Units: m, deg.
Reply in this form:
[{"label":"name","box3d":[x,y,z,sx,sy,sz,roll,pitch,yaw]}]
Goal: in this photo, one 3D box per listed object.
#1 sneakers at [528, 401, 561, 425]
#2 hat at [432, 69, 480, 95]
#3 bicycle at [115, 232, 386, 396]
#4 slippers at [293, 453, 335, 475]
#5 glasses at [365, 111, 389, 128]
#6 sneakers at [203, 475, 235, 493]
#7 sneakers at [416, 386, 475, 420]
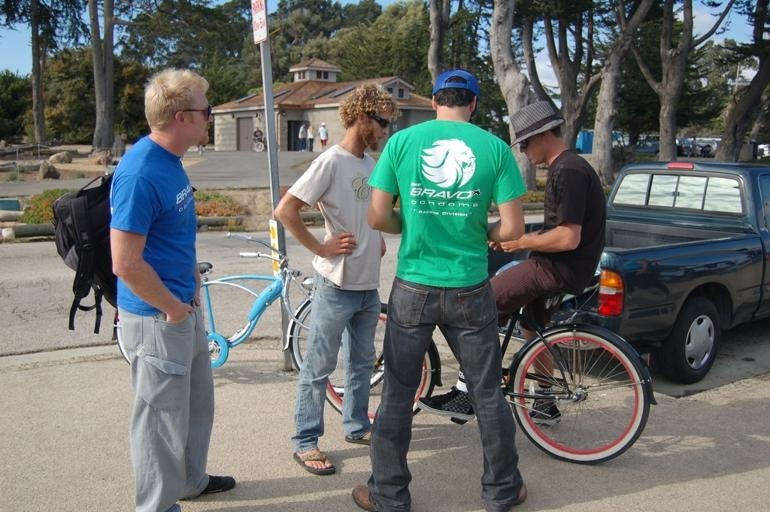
[{"label":"sneakers","box3d":[1.437,1.405,7.031,0.270,0.234,0.213,-2,5,-5]},{"label":"hat","box3d":[0.595,-1.387,6.265,0.317,0.220,0.494,4,13,10]},{"label":"bicycle","box3d":[-1.497,0.617,7.997,2.705,1.515,1.264,-2,-4,-4]},{"label":"slippers","box3d":[-0.598,1.792,6.707,0.320,0.123,0.163,5,5,42]},{"label":"glasses","box3d":[-0.054,-1.152,6.544,0.128,0.040,0.130,18,25,-45]},{"label":"sneakers","box3d":[-1.378,1.883,6.507,0.311,0.127,0.102,-6,14,-21]},{"label":"sneakers","box3d":[0.552,1.325,6.951,0.603,0.267,0.206,13,-21,17]}]
